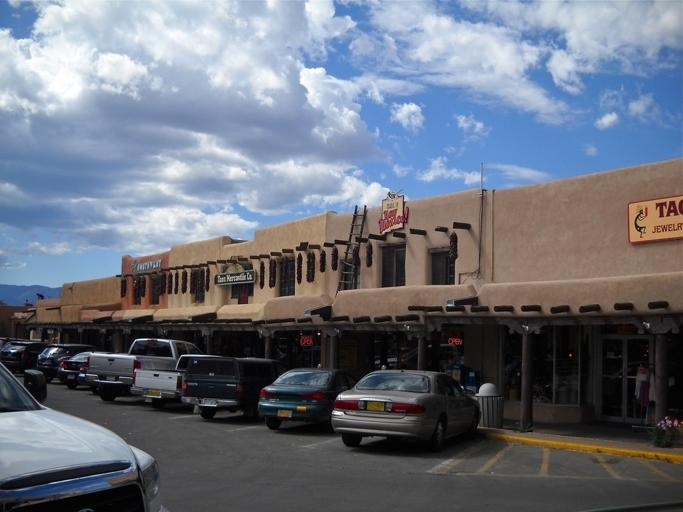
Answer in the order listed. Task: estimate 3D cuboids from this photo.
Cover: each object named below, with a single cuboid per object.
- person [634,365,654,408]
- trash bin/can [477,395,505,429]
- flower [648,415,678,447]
[{"bbox_3d":[8.950,3.849,17.828,0.479,1.153,0.508,-5,-12,26],"label":"person"},{"bbox_3d":[4.296,4.413,17.183,0.789,0.963,0.819,-1,-4,4],"label":"trash bin/can"},{"bbox_3d":[7.653,4.149,14.234,0.666,0.702,0.347,-3,-12,15],"label":"flower"}]
